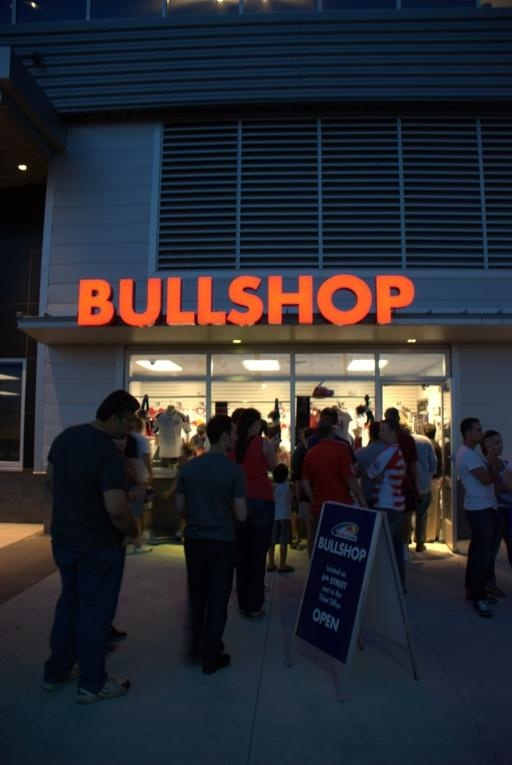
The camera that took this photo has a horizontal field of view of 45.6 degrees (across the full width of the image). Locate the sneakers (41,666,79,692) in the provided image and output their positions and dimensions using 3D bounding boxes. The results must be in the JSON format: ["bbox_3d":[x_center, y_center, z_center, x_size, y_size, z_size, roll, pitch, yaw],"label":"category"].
[{"bbox_3d":[-1.231,1.835,3.816,0.072,0.099,0.224,3,1,25],"label":"sneakers"}]

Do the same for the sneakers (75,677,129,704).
[{"bbox_3d":[-0.907,1.790,3.631,0.255,0.117,0.123,0,-5,-43],"label":"sneakers"}]

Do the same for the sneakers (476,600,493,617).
[{"bbox_3d":[1.898,1.857,5.038,0.070,0.076,0.175,0,-7,2],"label":"sneakers"}]

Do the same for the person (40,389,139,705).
[{"bbox_3d":[-1.000,0.960,3.656,0.593,1.828,0.401,0,-2,8],"label":"person"}]

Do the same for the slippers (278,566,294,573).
[{"bbox_3d":[0.312,1.916,6.274,0.153,0.072,0.064,0,-5,-15],"label":"slippers"}]
